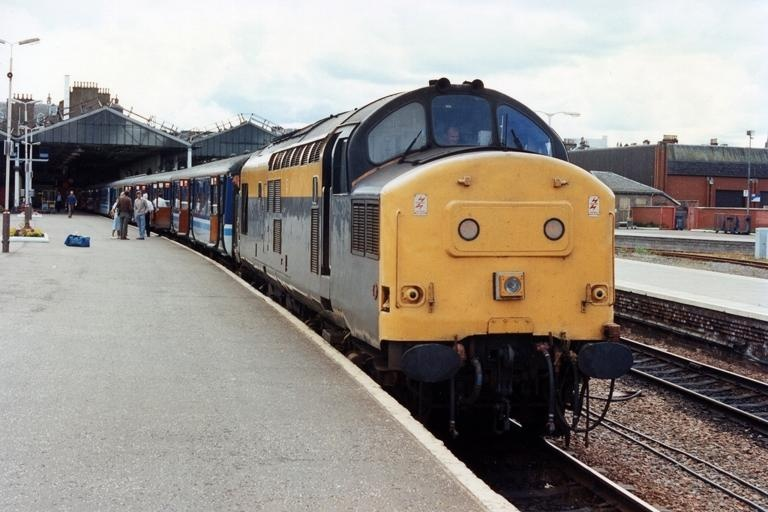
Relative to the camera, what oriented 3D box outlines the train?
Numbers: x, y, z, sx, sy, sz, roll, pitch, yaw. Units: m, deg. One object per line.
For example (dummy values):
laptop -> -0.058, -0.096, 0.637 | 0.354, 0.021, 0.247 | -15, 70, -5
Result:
train -> 0.056, -0.196, 10.108 | 2.507, 4.688, 7.491 | 0, 7, -27
